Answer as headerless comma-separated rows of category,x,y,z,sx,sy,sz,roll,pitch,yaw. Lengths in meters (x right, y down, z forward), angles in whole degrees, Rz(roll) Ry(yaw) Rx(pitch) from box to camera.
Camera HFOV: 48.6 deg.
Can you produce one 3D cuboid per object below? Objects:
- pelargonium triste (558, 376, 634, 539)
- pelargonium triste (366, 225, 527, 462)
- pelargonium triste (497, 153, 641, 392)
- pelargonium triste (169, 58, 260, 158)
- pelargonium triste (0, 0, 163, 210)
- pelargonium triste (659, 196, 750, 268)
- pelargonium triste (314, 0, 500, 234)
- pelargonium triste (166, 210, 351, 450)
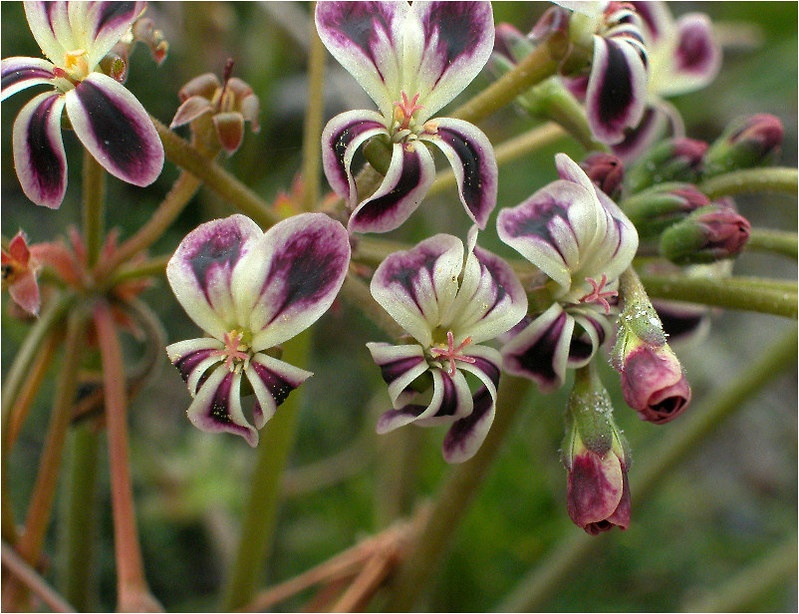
pelargonium triste,0.285,0.213,1.319,0.085,0.086,0.267,-8,53,17
pelargonium triste,0.075,0.059,1.272,0.228,0.337,0.116,-6,12,7
pelargonium triste,0.226,-0.050,1.330,0.210,0.097,0.378,10,62,37
pelargonium triste,-0.297,-0.312,1.417,0.136,0.144,0.193,-9,13,-8
pelargonium triste,-0.479,-0.316,1.324,0.227,0.310,0.217,-11,12,-16
pelargonium triste,0.498,-0.119,1.460,0.132,0.101,0.131,-5,13,11
pelargonium triste,0.013,-0.242,1.389,0.272,0.341,0.206,-26,-23,-9
pelargonium triste,-0.201,0.032,1.251,0.275,0.322,0.110,-5,-8,22
